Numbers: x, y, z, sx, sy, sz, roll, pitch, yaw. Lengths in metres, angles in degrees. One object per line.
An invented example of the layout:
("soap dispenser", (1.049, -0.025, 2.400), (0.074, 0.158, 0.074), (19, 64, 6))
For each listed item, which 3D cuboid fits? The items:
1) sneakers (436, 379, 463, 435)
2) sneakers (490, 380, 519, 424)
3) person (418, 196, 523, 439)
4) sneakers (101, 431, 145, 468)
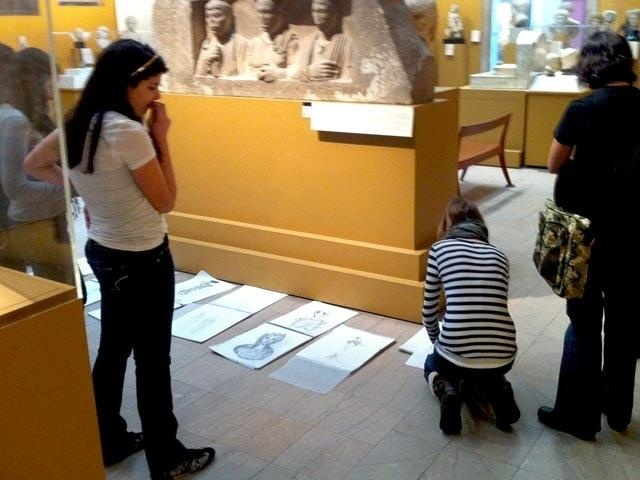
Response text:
("sneakers", (0.730, 0.942, 2.889), (0.127, 0.308, 0.208), (-2, 5, -1))
("sneakers", (1.032, 0.873, 2.885), (0.146, 0.143, 0.084), (0, -19, 10))
("person", (0.908, 0.423, 2.983), (0.572, 1.185, 0.724), (0, 19, 4))
("sneakers", (-1.087, 1.091, 2.740), (0.097, 0.120, 0.294), (22, 3, 31))
